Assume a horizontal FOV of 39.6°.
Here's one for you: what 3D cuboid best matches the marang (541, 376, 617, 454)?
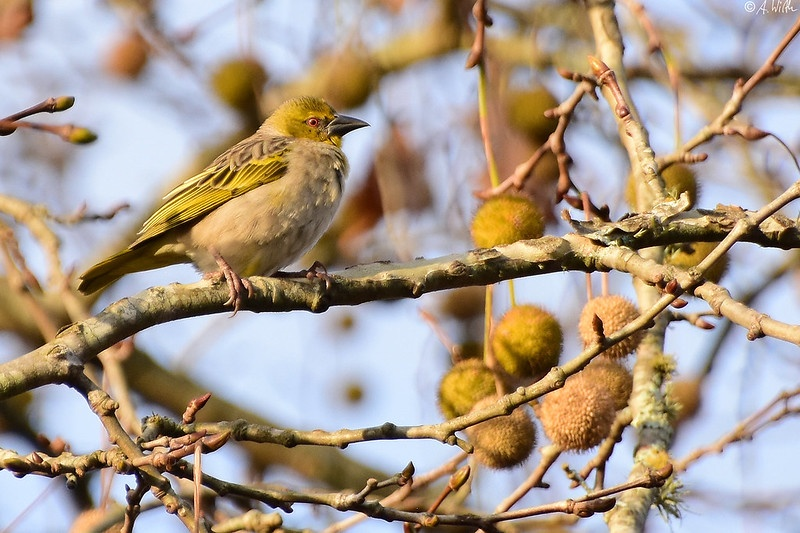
[{"bbox_3d":[1.159,0.981,7.315,0.414,0.367,0.487,-1,-90,6],"label":"marang"}]

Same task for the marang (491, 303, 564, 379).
[{"bbox_3d":[0.822,0.534,7.792,0.333,0.810,0.632,0,-92,3],"label":"marang"}]

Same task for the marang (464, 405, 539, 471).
[{"bbox_3d":[0.713,1.181,7.529,0.372,0.247,0.525,-2,-88,-8],"label":"marang"}]

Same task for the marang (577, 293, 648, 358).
[{"bbox_3d":[1.395,0.404,7.221,0.326,0.372,0.383,10,-86,-6],"label":"marang"}]

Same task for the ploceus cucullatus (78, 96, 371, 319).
[{"bbox_3d":[-1.420,-0.482,9.076,2.295,0.943,1.721,-6,-109,1],"label":"ploceus cucullatus"}]

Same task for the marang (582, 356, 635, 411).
[{"bbox_3d":[1.434,0.775,7.597,0.292,0.333,0.347,8,-56,-14],"label":"marang"}]
